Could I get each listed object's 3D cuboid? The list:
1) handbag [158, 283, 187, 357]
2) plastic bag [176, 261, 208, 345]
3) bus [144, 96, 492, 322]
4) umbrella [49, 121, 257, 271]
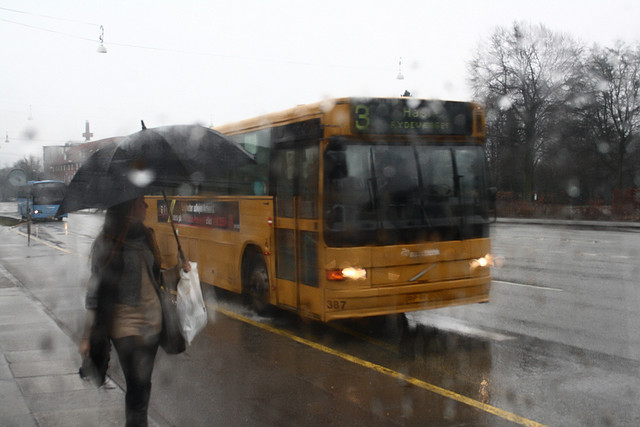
[{"bbox_3d":[-1.554,1.087,5.185,0.239,0.720,0.373,-5,7,-44],"label":"handbag"},{"bbox_3d":[-1.348,0.907,5.238,0.298,0.788,0.303,-2,5,-17],"label":"plastic bag"},{"bbox_3d":[-1.861,-0.139,12.809,3.104,3.973,10.728,1,1,-40],"label":"bus"},{"bbox_3d":[-1.746,-0.232,5.496,1.918,1.545,1.036,-2,6,-18],"label":"umbrella"}]
